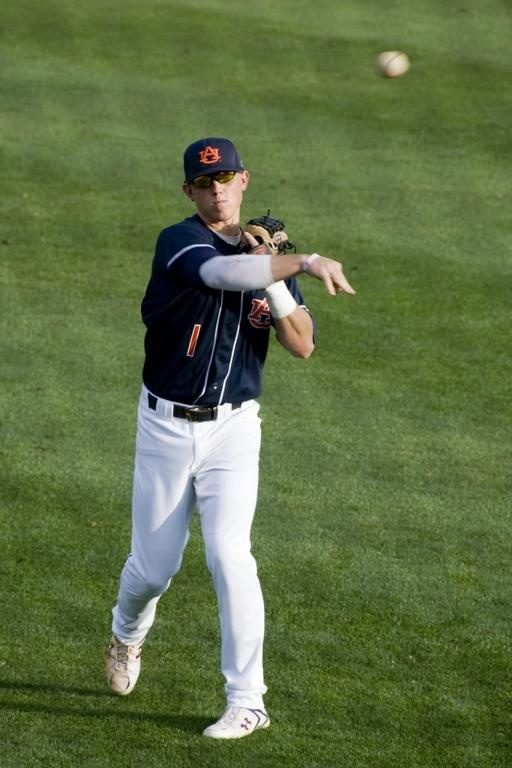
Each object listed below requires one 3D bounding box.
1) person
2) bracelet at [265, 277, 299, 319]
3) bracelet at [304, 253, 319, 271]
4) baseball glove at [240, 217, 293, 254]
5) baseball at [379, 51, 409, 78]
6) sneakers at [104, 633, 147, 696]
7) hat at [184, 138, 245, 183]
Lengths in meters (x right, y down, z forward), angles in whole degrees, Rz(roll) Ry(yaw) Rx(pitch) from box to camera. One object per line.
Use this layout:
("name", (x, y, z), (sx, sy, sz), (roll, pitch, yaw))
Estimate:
("person", (-0.169, 0.259, 4.965), (0.852, 2.453, 1.309), (3, 22, -6))
("bracelet", (0.110, -0.355, 4.694), (0.071, 0.160, 0.099), (-33, 59, -8))
("bracelet", (0.222, -0.486, 4.395), (0.020, 0.067, 0.049), (31, -20, -27))
("baseball glove", (0.042, -0.667, 5.127), (0.178, 0.116, 0.236), (5, -19, 10))
("baseball", (1.311, -3.071, 10.741), (0.269, 0.219, 0.287), (-2, 0, -16))
("sneakers", (-0.594, 1.299, 5.168), (0.114, 0.318, 0.126), (6, -27, -21))
("hat", (-0.193, -1.003, 5.059), (0.179, 0.127, 0.245), (-11, 10, 1))
